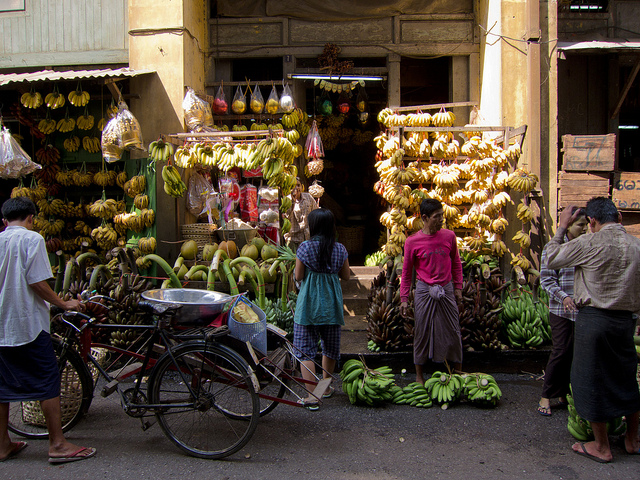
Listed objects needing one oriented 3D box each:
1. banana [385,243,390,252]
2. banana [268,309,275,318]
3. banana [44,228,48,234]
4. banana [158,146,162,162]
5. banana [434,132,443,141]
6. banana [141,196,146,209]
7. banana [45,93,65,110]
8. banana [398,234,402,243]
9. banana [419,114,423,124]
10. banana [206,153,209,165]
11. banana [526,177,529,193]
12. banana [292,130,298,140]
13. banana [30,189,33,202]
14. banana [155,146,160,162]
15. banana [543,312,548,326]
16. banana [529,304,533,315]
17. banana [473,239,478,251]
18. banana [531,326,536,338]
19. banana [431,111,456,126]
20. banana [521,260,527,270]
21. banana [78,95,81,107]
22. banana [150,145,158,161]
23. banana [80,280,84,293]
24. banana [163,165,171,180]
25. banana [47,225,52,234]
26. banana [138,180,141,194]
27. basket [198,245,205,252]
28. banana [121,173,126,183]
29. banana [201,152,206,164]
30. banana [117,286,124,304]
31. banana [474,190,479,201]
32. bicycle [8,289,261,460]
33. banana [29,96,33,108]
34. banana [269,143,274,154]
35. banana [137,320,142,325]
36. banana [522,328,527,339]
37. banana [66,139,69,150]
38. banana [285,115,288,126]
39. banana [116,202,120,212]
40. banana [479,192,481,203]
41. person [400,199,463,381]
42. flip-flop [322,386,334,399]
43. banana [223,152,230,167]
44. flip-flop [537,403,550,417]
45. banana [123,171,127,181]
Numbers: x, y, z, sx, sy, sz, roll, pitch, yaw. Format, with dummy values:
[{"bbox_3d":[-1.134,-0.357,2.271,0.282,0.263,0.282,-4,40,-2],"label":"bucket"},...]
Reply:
[{"bbox_3d":[0.937,0.101,9.666,0.032,0.106,0.071,8,-8,-8],"label":"banana"},{"bbox_3d":[-0.632,0.973,9.097,0.059,0.061,0.142,4,12,24],"label":"banana"},{"bbox_3d":[-4.312,-0.145,10.968,0.077,0.099,0.020,-1,4,3],"label":"banana"},{"bbox_3d":[-2.225,-1.193,9.674,0.031,0.172,0.044,-2,-10,7],"label":"banana"},{"bbox_3d":[1.753,-1.553,10.264,0.038,0.164,0.029,6,-23,45],"label":"banana"},{"bbox_3d":[-2.572,-0.559,10.132,0.069,0.155,0.042,-4,10,-21],"label":"banana"},{"bbox_3d":[-3.960,-2.046,10.374,0.224,0.270,0.100,1,6,11],"label":"banana"},{"bbox_3d":[1.103,-0.020,9.652,0.047,0.098,0.023,0,-7,-2],"label":"banana"},{"bbox_3d":[1.515,-1.819,10.380,0.037,0.171,0.030,-3,-35,20],"label":"banana"},{"bbox_3d":[-1.559,-1.120,9.640,0.019,0.140,0.034,4,-13,-1],"label":"banana"},{"bbox_3d":[2.878,-0.772,9.655,0.040,0.172,0.066,2,10,15],"label":"banana"},{"bbox_3d":[-0.387,-1.611,10.596,0.052,0.124,0.165,2,11,14],"label":"banana"},{"bbox_3d":[-4.513,-0.709,10.880,0.043,0.128,0.031,-1,9,-3],"label":"banana"},{"bbox_3d":[-2.282,-1.194,9.713,0.037,0.226,0.054,14,-8,-32],"label":"banana"},{"bbox_3d":[2.884,1.026,8.891,0.032,0.156,0.030,9,-20,-19],"label":"banana"},{"bbox_3d":[2.685,0.872,8.881,0.024,0.118,0.030,12,-38,-2],"label":"banana"},{"bbox_3d":[2.203,0.076,9.841,0.044,0.176,0.032,20,6,-8],"label":"banana"},{"bbox_3d":[2.678,1.158,8.722,0.023,0.136,0.030,12,-1,-28],"label":"banana"},{"bbox_3d":[1.808,-1.800,10.352,0.202,0.129,0.233,-12,1,-32],"label":"banana"},{"bbox_3d":[2.843,0.353,9.688,0.030,0.106,0.074,20,-8,-28],"label":"banana"},{"bbox_3d":[-3.561,-2.052,10.288,0.041,0.231,0.052,0,-5,-1],"label":"banana"},{"bbox_3d":[-2.313,-1.232,9.750,0.094,0.152,0.036,0,-1,35],"label":"banana"},{"bbox_3d":[-3.130,0.612,9.138,0.019,0.106,0.057,3,-3,20],"label":"banana"},{"bbox_3d":[-2.108,-0.937,9.563,0.040,0.165,0.119,-18,16,26],"label":"banana"},{"bbox_3d":[-4.268,-0.177,10.980,0.071,0.123,0.055,-5,11,-25],"label":"banana"},{"bbox_3d":[-2.657,-0.737,10.225,0.038,0.120,0.077,-3,10,-15],"label":"banana"},{"bbox_3d":[-1.714,0.128,10.083,0.069,0.101,0.166,-6,12,-31],"label":"basket"},{"bbox_3d":[-3.036,-0.965,10.710,0.044,0.135,0.033,-7,12,-36],"label":"banana"},{"bbox_3d":[-1.613,-1.150,9.632,0.034,0.177,0.042,17,-25,-22],"label":"banana"},{"bbox_3d":[-2.598,0.720,9.046,0.043,0.238,0.070,1,-11,9],"label":"banana"},{"bbox_3d":[2.248,-0.632,9.997,0.028,0.149,0.023,-6,-25,35],"label":"banana"},{"bbox_3d":[-1.871,1.311,7.753,2.710,1.548,1.533,1,10,8],"label":"bicycle"},{"bbox_3d":[-4.301,-2.060,10.354,0.035,0.182,0.026,13,-13,-29],"label":"banana"},{"bbox_3d":[-0.645,-1.211,9.164,0.067,0.108,0.024,-2,-9,38],"label":"banana"},{"bbox_3d":[-2.322,1.079,8.992,0.052,0.053,0.015,45,-12,-28],"label":"banana"},{"bbox_3d":[2.550,1.171,8.681,0.031,0.154,0.033,-2,-1,5],"label":"banana"},{"bbox_3d":[-3.976,-1.511,10.954,0.046,0.157,0.017,1,9,10],"label":"banana"},{"bbox_3d":[-0.539,-1.919,11.085,0.042,0.158,0.071,-1,10,-4],"label":"banana"},{"bbox_3d":[-3.088,-0.490,10.605,0.025,0.130,0.138,-2,10,-8],"label":"banana"},{"bbox_3d":[2.287,-0.614,9.970,0.024,0.141,0.031,2,-3,1],"label":"banana"},{"bbox_3d":[1.352,0.601,8.231,0.724,2.339,0.477,-1,28,10],"label":"person"},{"bbox_3d":[0.101,1.790,8.183,0.069,0.114,0.230,5,12,27],"label":"flip-flop"},{"bbox_3d":[-1.291,-1.109,9.546,0.034,0.182,0.042,18,-9,0],"label":"banana"},{"bbox_3d":[2.506,1.893,7.798,0.118,0.098,0.215,3,11,16],"label":"flip-flop"},{"bbox_3d":[-3.013,-1.005,10.745,0.028,0.125,0.025,-20,-13,22],"label":"banana"}]
